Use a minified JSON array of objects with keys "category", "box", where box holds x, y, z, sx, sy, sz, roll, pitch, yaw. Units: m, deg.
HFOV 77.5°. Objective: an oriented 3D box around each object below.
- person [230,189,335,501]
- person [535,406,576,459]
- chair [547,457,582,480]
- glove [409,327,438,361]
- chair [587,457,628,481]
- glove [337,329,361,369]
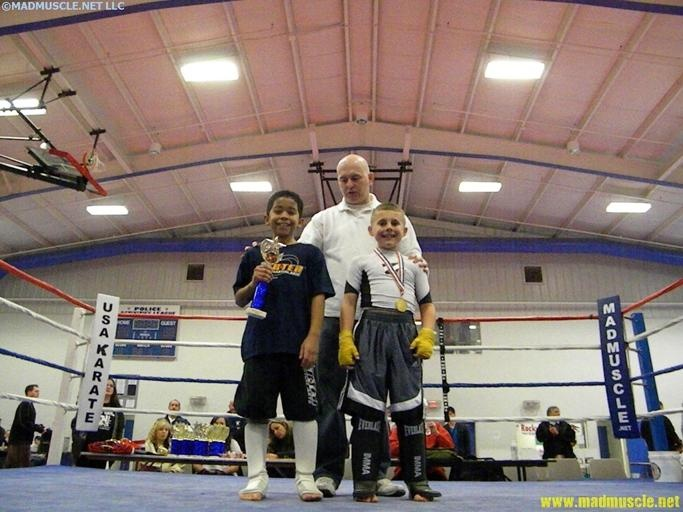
[{"category":"person","box":[-0.235,0.196,1.905,0.506,1.460,0.353,0,-14,2]},{"category":"person","box":[3.073,2.638,6.106,0.467,0.903,0.368,-1,-26,11]},{"category":"chair","box":[1.975,1.869,3.812,0.243,0.128,0.224,0,-14,4]},{"category":"glove","box":[0.346,0.360,1.799,0.085,0.144,0.177,-6,-24,17]},{"category":"chair","box":[2.564,2.034,4.112,0.391,0.168,0.253,0,-23,2]},{"category":"glove","box":[0.026,0.374,1.751,0.079,0.156,0.101,5,-24,-7]}]
